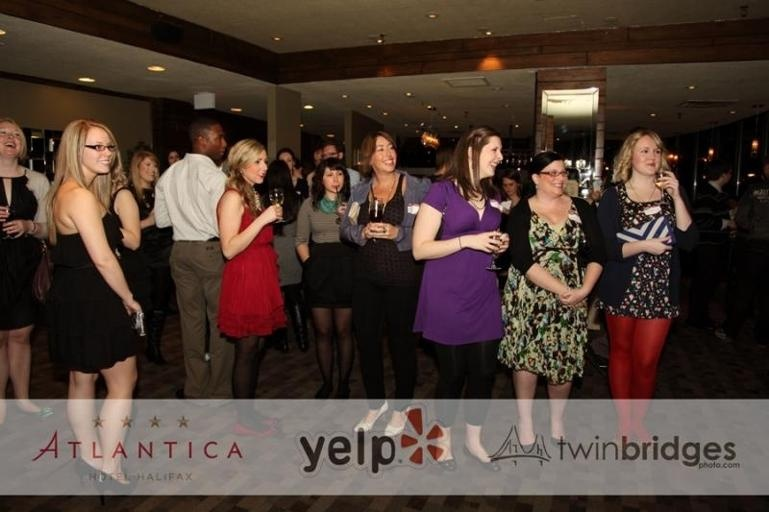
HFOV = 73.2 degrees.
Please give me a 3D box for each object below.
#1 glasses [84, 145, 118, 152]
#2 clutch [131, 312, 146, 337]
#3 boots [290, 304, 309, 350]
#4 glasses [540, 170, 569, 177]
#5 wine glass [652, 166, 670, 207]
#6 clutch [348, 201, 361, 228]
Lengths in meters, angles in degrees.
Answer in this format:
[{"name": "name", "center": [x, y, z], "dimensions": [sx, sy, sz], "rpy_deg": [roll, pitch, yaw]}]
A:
[{"name": "glasses", "center": [-1.880, -0.720, 3.448], "dimensions": [0.176, 0.053, 0.053], "rpy_deg": [-13, 20, -40]}, {"name": "clutch", "center": [-1.686, 0.463, 3.506], "dimensions": [0.137, 0.133, 0.076], "rpy_deg": [-3, 6, 1]}, {"name": "boots", "center": [-0.976, 0.808, 5.904], "dimensions": [0.163, 0.487, 0.336], "rpy_deg": [-13, 29, -1]}, {"name": "glasses", "center": [1.243, -0.610, 3.806], "dimensions": [0.193, 0.045, 0.057], "rpy_deg": [-1, 15, -6]}, {"name": "wine glass", "center": [2.103, -0.563, 3.968], "dimensions": [0.074, 0.223, 0.195], "rpy_deg": [9, 18, 30]}, {"name": "clutch", "center": [-0.246, -0.339, 4.120], "dimensions": [0.057, 0.150, 0.119], "rpy_deg": [2, 7, 16]}]
